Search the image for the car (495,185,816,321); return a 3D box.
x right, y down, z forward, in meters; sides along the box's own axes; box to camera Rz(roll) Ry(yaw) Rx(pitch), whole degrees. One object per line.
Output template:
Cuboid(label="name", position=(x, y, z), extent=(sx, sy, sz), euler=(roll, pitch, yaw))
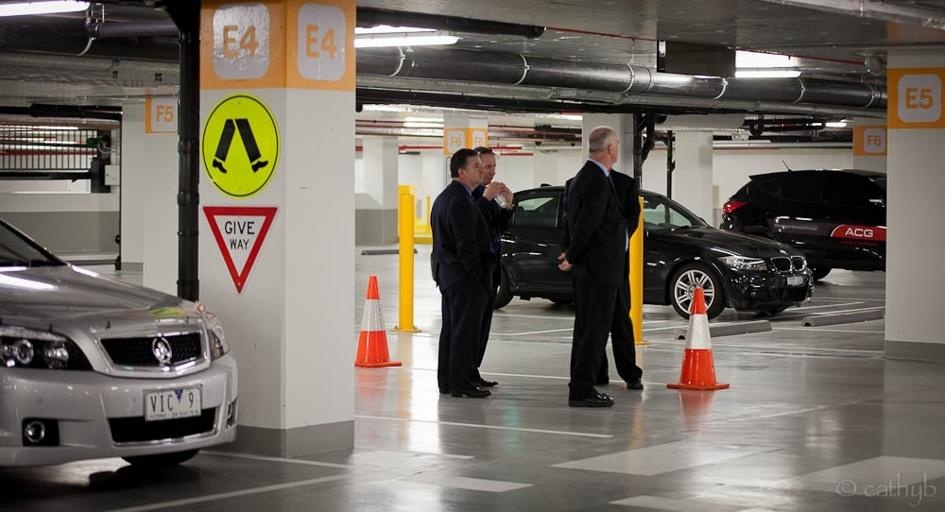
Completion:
Cuboid(label="car", position=(3.651, -0.061, 16.856), extent=(7.234, 2.085, 2.993), euler=(0, 1, 25))

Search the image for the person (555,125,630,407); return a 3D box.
Cuboid(label="person", position=(1.515, 0.143, 9.360), extent=(0.820, 3.439, 0.469), euler=(-4, 7, -10))
